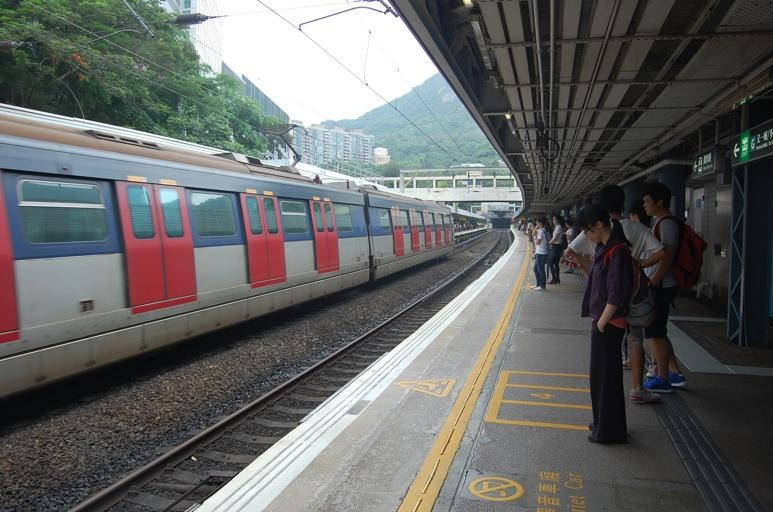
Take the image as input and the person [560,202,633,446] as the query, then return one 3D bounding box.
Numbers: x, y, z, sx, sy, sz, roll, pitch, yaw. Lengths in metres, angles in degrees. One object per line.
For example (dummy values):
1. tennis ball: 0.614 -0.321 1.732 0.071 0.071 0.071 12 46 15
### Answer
1. person: 2.499 0.763 5.399 0.544 2.671 0.617 -2 10 21
